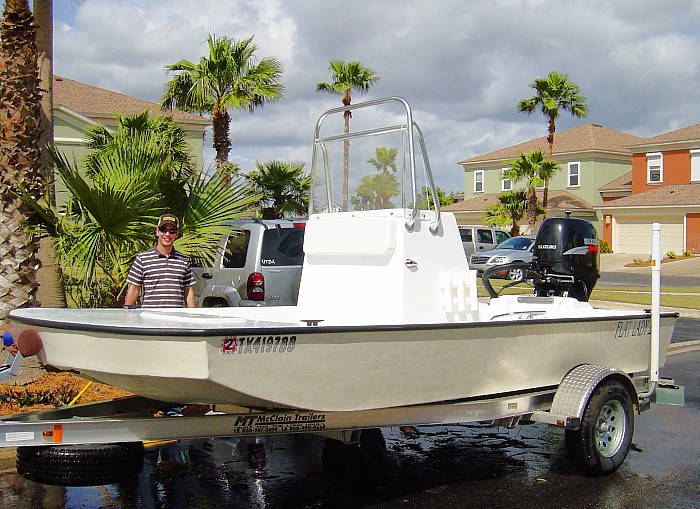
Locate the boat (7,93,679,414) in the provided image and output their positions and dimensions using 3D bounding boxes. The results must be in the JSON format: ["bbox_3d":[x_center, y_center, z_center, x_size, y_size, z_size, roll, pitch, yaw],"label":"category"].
[{"bbox_3d":[0.488,0.273,6.134,6.316,2.947,2.582,3,-3,-39],"label":"boat"}]

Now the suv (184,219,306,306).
[{"bbox_3d":[-1.808,0.150,9.952,1.181,1.101,2.091,-1,5,-33],"label":"suv"}]
